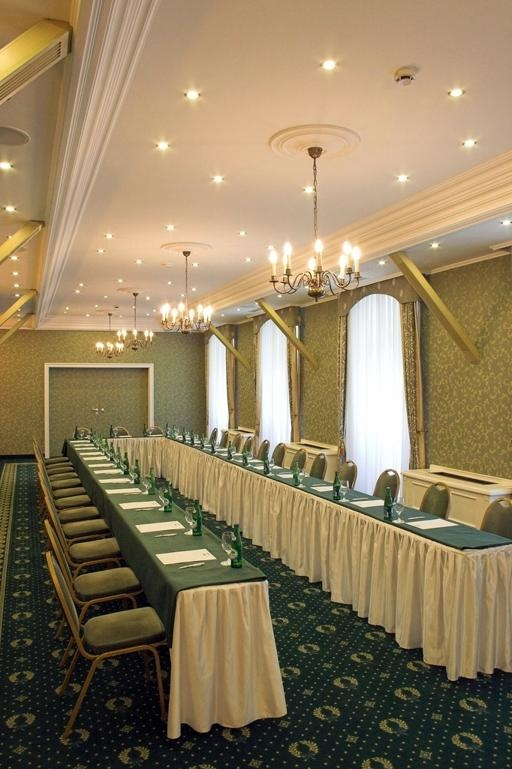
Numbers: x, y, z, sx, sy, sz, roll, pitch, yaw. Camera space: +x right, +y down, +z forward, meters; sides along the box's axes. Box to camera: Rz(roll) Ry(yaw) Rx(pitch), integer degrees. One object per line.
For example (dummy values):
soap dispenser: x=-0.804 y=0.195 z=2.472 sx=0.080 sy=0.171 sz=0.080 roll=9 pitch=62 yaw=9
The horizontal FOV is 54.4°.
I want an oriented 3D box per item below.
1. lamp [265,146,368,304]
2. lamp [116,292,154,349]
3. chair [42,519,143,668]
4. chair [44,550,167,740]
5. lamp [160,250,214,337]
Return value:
lamp: x=0.542 y=-1.537 z=4.608 sx=0.698 sy=1.324 sz=0.663 roll=-5 pitch=3 yaw=-39
lamp: x=-3.287 y=-1.766 z=13.502 sx=0.813 sy=1.626 sz=0.894 roll=2 pitch=11 yaw=-3
chair: x=-1.119 y=1.382 z=3.508 sx=0.517 sy=0.863 sz=0.432 roll=-8 pitch=11 yaw=-22
chair: x=-0.816 y=1.398 z=2.773 sx=0.574 sy=0.935 sz=0.550 roll=-2 pitch=1 yaw=-14
lamp: x=-1.143 y=-1.550 z=8.132 sx=0.719 sy=1.486 sz=0.796 roll=0 pitch=-1 yaw=6
